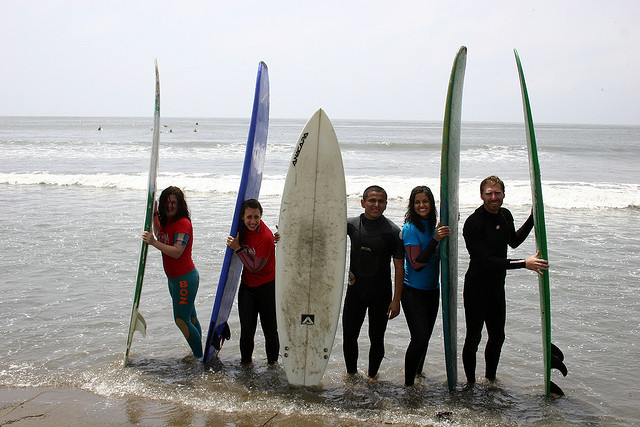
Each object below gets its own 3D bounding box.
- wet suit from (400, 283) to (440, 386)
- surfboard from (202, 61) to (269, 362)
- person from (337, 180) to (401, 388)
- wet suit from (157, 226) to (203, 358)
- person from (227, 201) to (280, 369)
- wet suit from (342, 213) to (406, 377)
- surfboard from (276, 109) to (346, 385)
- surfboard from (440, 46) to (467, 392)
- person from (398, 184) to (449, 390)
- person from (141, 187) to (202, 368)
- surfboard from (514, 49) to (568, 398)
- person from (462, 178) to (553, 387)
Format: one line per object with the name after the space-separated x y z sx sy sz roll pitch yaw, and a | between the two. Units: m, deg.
1.114 1.395 6.124 0.416 1.190 0.268 2 2 9 | wet suit
-1.007 -0.027 6.562 0.670 3.668 1.130 2 2 1 | surfboard
0.590 0.828 6.566 0.693 2.306 1.014 2 2 3 | person
-1.611 1.204 6.550 0.449 1.140 0.293 0 2 -37 | wet suit
-0.773 0.853 6.436 0.600 2.001 0.392 1 2 -5 | person
0.612 0.958 6.274 0.687 1.924 0.297 2 2 4 | wet suit
-0.105 0.379 6.279 0.795 3.163 0.237 1 2 -6 | surfboard
1.459 0.071 6.065 0.199 3.890 0.525 3 2 35 | surfboard
1.143 0.854 6.083 0.524 2.326 0.392 2 2 9 | person
-1.742 0.765 6.500 0.671 2.153 0.462 1 2 -14 | person
2.494 0.154 6.111 0.664 3.873 1.232 3 2 25 | surfboard
2.083 0.805 6.180 0.846 2.396 0.621 2 2 22 | person
